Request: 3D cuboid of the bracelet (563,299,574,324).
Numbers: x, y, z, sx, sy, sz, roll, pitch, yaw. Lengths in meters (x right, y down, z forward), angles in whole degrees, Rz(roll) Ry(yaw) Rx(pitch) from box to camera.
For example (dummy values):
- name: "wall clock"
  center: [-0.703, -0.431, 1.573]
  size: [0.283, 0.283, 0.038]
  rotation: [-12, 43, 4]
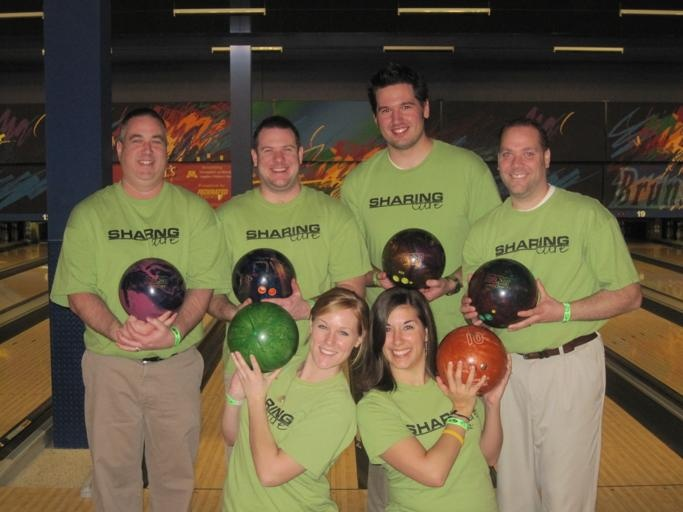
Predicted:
- name: "bracelet"
  center: [0.962, 0.239, 2.551]
  size: [0.035, 0.076, 0.022]
  rotation: [2, 6, 14]

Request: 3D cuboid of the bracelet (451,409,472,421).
- name: "bracelet"
  center: [0.485, 0.638, 2.409]
  size: [0.062, 0.019, 0.049]
  rotation: [20, 2, 12]

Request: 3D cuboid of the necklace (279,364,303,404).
- name: "necklace"
  center: [-0.188, 0.556, 2.530]
  size: [0.043, 0.141, 0.140]
  rotation: [39, -10, -30]

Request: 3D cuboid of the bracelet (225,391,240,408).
- name: "bracelet"
  center: [-0.463, 0.608, 2.525]
  size: [0.047, 0.035, 0.064]
  rotation: [6, 4, 1]

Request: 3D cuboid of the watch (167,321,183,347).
- name: "watch"
  center: [-0.738, 0.344, 2.664]
  size: [0.073, 0.097, 0.051]
  rotation: [-16, 0, 38]

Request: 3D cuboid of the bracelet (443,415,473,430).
- name: "bracelet"
  center: [0.465, 0.664, 2.390]
  size: [0.093, 0.066, 0.053]
  rotation: [0, 6, -1]

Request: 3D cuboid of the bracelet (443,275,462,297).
- name: "bracelet"
  center: [0.537, 0.143, 2.885]
  size: [0.075, 0.103, 0.039]
  rotation: [1, -7, 24]
